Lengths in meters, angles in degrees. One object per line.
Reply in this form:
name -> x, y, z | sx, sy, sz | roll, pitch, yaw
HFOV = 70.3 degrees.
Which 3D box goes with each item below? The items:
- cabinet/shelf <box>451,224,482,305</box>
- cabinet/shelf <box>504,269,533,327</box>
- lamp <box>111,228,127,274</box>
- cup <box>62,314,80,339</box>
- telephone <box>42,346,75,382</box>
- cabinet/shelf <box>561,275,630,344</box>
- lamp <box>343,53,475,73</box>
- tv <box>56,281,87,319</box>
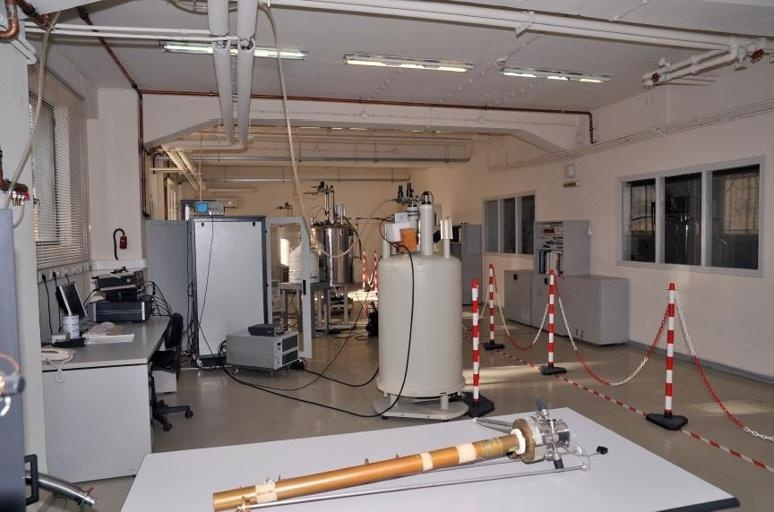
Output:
cabinet/shelf -> 1.810, 0.157, 12.319 | 0.684, 1.838, 1.215 | 0, 1, 2
cabinet/shelf -> 2.388, 0.768, 9.960 | 0.514, 1.020, 0.984 | 0, 1, -12
lamp -> -3.671, -0.157, 7.614 | 0.186, 0.462, 0.151 | -1, 1, -15
cup -> -3.151, 0.711, 5.539 | 0.201, 0.231, 0.204 | 0, 5, 0
telephone -> -2.987, 0.983, 5.028 | 0.233, 0.323, 0.055 | -19, -30, -43
cabinet/shelf -> 3.215, 0.830, 8.831 | 0.566, 1.049, 1.089 | -2, 4, -18
lamp -> 0.242, -2.380, 6.893 | 1.622, 0.131, 0.544 | -1, 1, -16
tv -> -3.458, 0.495, 6.048 | 0.152, 0.368, 0.406 | -18, -5, -7
